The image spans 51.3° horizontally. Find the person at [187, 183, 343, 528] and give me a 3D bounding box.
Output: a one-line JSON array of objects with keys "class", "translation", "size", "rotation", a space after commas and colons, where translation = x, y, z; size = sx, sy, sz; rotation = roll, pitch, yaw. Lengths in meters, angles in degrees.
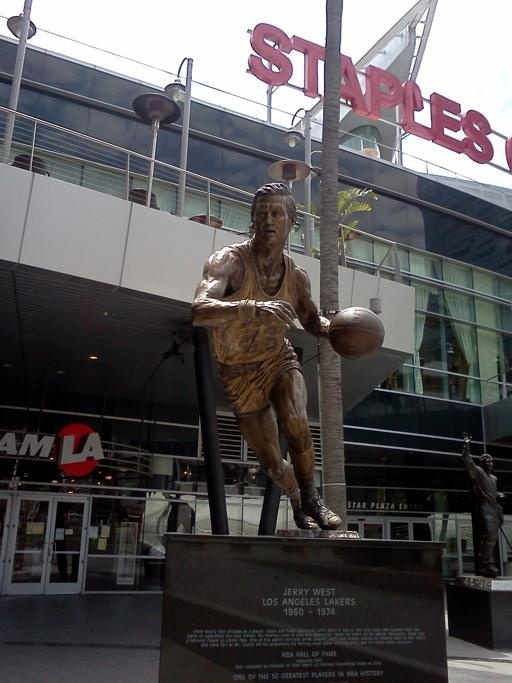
[{"class": "person", "translation": [0.044, 0.027, 2.725], "size": [0.651, 1.834, 1.043], "rotation": [-3, -16, 11]}]
